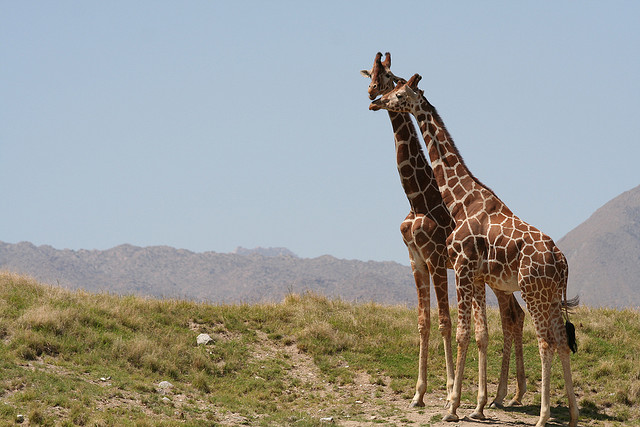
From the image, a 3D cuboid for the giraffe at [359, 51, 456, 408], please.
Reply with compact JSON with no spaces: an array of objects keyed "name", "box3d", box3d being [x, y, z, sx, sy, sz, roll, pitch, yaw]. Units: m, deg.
[{"name":"giraffe","box3d":[5.322,0.843,45.570,6.731,15.098,2.881,4,5,27]}]
